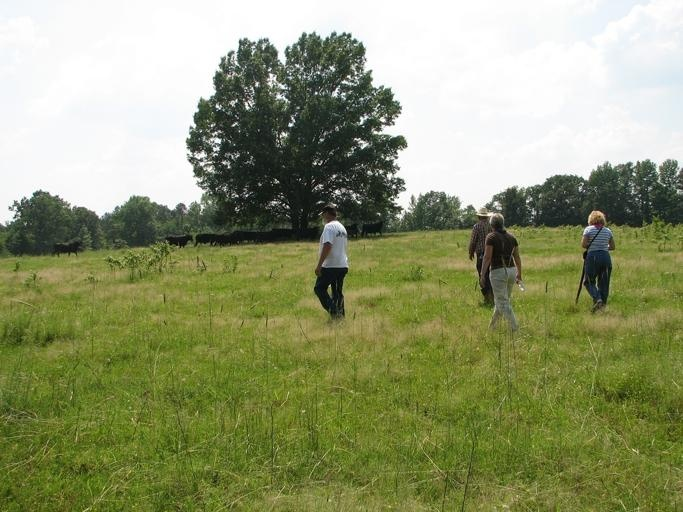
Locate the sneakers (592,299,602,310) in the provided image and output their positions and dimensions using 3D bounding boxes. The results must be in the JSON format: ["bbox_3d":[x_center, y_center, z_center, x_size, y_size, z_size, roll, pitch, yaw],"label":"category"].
[{"bbox_3d":[6.250,1.169,16.264,0.208,0.263,0.178,3,12,19],"label":"sneakers"}]

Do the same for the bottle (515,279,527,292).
[{"bbox_3d":[4.692,0.762,17.555,0.261,0.389,1.147,-2,-12,16],"label":"bottle"}]

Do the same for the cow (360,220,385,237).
[{"bbox_3d":[2.140,-1.880,47.206,2.049,1.316,0.827,-7,9,0],"label":"cow"}]

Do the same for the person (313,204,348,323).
[{"bbox_3d":[-0.238,0.147,16.142,0.753,2.764,1.030,1,11,11],"label":"person"}]
